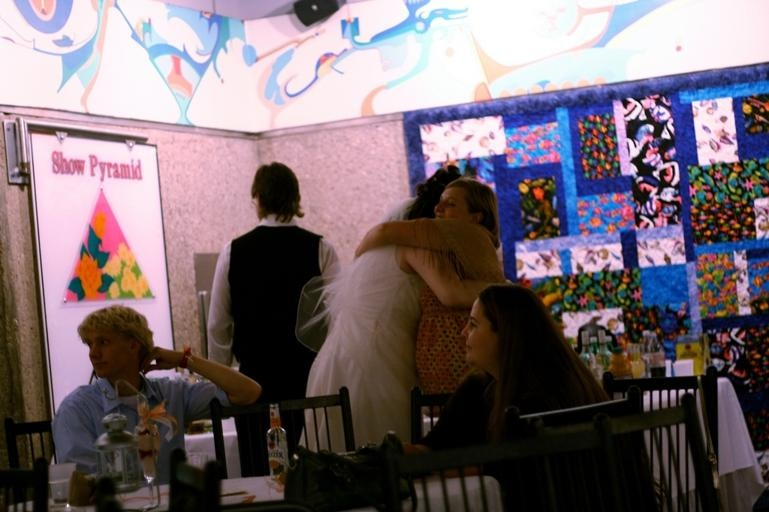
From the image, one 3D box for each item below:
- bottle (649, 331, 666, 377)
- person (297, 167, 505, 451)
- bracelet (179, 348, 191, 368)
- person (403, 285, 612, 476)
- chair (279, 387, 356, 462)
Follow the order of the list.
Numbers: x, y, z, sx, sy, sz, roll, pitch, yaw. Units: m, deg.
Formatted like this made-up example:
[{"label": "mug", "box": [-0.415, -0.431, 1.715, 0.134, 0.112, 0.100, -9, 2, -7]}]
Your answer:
[{"label": "bottle", "box": [1.609, 0.579, 3.798, 0.091, 0.233, 0.397, -6, -8, 22]}, {"label": "person", "box": [0.064, 0.404, 3.336, 0.911, 1.745, 0.809, 6, 6, 10]}, {"label": "bracelet", "box": [-0.905, 0.464, 2.908, 0.034, 0.095, 0.067, 10, -8, -9]}, {"label": "person", "box": [0.470, 0.409, 2.326, 0.799, 0.581, 0.459, -4, -8, 32]}, {"label": "chair", "box": [-0.285, 0.743, 2.821, 0.208, 0.365, 0.232, -14, -33, 13]}]
